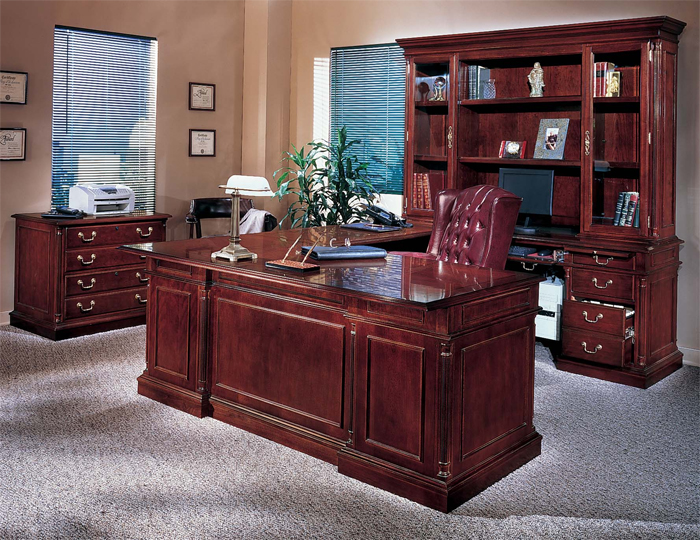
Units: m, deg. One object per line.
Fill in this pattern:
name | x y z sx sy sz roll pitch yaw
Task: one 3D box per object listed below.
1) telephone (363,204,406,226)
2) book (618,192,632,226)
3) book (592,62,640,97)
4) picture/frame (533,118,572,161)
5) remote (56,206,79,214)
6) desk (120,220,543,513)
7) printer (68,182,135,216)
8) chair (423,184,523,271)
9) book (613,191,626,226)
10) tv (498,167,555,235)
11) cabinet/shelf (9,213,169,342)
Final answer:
telephone | 0.292 -0.455 4.463 0.293 0.099 0.195 33 13 11
book | 2.068 -0.448 3.919 0.043 0.204 0.191 6 9 9
book | 2.017 -1.423 3.911 0.274 0.279 0.152 5 10 34
picture/frame | 1.729 -1.116 4.479 0.233 0.366 0.008 6 -15 30
remote | -2.569 -0.534 4.737 0.173 0.045 0.104 10 10 16
desk | -0.128 0.446 2.845 2.046 0.994 0.768 6 9 31
printer | -2.360 -0.662 4.960 0.547 0.274 0.319 -4 9 -31
chair | 0.854 -0.358 3.760 0.633 0.772 0.552 -6 12 -35
book | 2.039 -0.451 3.946 0.042 0.200 0.190 8 7 9
tv | 1.577 -0.623 4.644 0.450 0.506 0.154 9 18 41
cabinet/shelf | -2.504 -0.008 5.106 0.706 1.072 1.212 10 10 26
